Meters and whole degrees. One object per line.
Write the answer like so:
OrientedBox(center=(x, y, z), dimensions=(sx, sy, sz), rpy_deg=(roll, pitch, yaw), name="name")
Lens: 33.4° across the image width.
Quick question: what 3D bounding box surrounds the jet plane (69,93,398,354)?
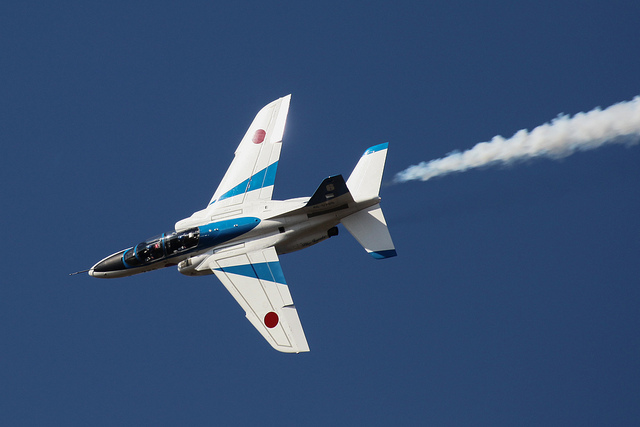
OrientedBox(center=(-4.206, 0.766, 44.349), dimensions=(14.363, 10.344, 3.803), rpy_deg=(-13, -27, 18), name="jet plane")
